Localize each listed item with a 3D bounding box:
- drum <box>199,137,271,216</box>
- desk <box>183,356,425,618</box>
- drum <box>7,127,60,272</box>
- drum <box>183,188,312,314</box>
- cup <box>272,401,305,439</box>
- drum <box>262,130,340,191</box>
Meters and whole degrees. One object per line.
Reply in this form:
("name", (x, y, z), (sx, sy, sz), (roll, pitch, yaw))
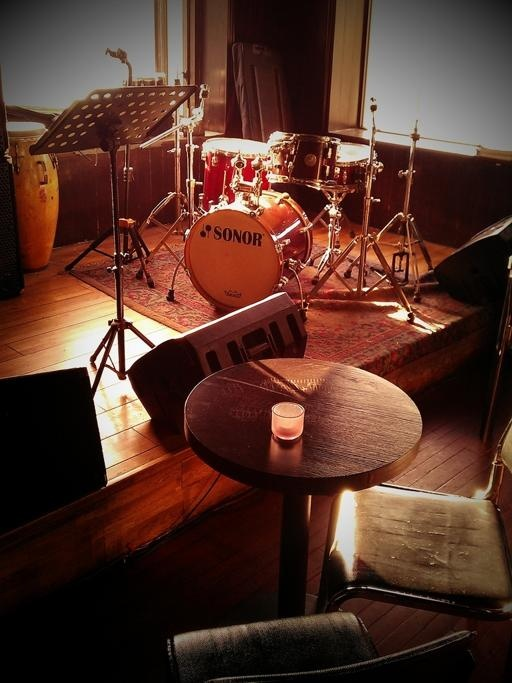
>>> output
("drum", (-0.131, -1.033, 3.246), (0.453, 0.488, 0.478), (10, 23, 21))
("desk", (0.117, 0.300, 1.558), (0.608, 0.795, 0.634), (9, 35, 11))
("drum", (-1.391, -0.884, 3.433), (0.298, 0.879, 0.190), (-12, 25, -33))
("drum", (-0.069, -0.585, 3.290), (0.810, 0.841, 0.642), (14, 26, 28))
("cup", (0.071, 0.169, 1.172), (0.068, 0.069, 0.072), (1, 33, -1))
("drum", (0.281, -1.101, 3.174), (0.351, 0.220, 0.363), (5, 25, -2))
